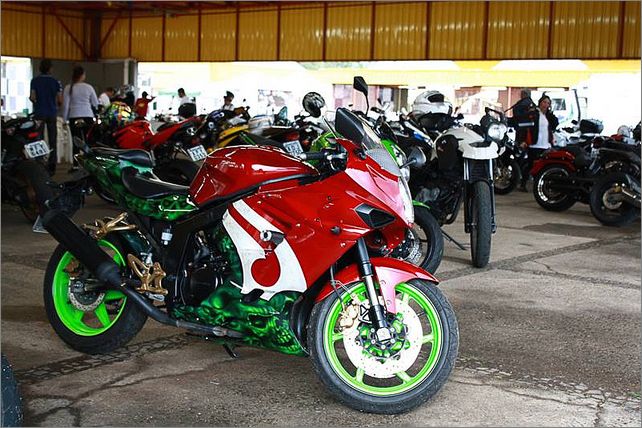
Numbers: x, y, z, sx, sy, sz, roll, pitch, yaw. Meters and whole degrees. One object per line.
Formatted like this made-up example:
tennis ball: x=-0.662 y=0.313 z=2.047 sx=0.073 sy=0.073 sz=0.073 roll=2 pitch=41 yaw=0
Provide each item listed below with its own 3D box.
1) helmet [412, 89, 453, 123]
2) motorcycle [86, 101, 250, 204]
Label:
helmet: x=1.670 y=-1.674 z=8.115 sx=0.529 sy=0.456 sz=0.444 roll=-12 pitch=21 yaw=2
motorcycle: x=-2.590 y=-0.988 z=9.306 sx=2.827 sy=1.777 sz=1.489 roll=8 pitch=21 yaw=22
